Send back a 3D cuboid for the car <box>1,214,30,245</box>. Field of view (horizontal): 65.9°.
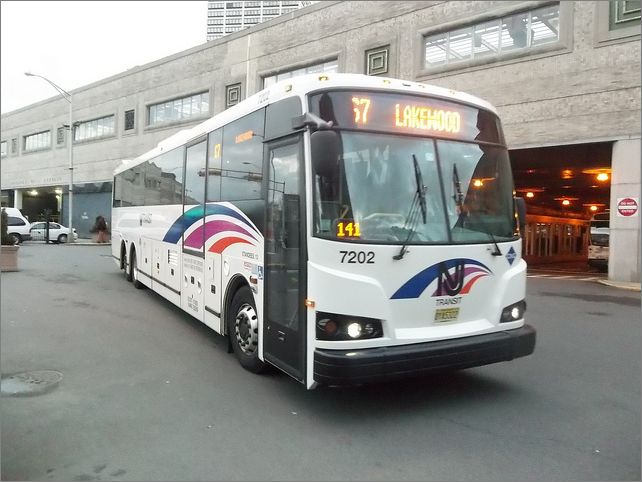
[{"bbox_3d":[-19.618,-0.748,31.787,0.977,1.739,1.711,0,5,-13],"label":"car"}]

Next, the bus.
[{"bbox_3d":[-1.215,-0.214,9.951,3.016,3.443,10.096,0,0,-28],"label":"bus"}]

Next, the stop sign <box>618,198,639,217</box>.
[{"bbox_3d":[11.012,-1.181,17.659,0.084,0.681,0.624,7,-1,-30],"label":"stop sign"}]

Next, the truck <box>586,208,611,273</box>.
[{"bbox_3d":[17.905,-0.006,31.789,1.091,3.516,4.083,3,5,29],"label":"truck"}]
